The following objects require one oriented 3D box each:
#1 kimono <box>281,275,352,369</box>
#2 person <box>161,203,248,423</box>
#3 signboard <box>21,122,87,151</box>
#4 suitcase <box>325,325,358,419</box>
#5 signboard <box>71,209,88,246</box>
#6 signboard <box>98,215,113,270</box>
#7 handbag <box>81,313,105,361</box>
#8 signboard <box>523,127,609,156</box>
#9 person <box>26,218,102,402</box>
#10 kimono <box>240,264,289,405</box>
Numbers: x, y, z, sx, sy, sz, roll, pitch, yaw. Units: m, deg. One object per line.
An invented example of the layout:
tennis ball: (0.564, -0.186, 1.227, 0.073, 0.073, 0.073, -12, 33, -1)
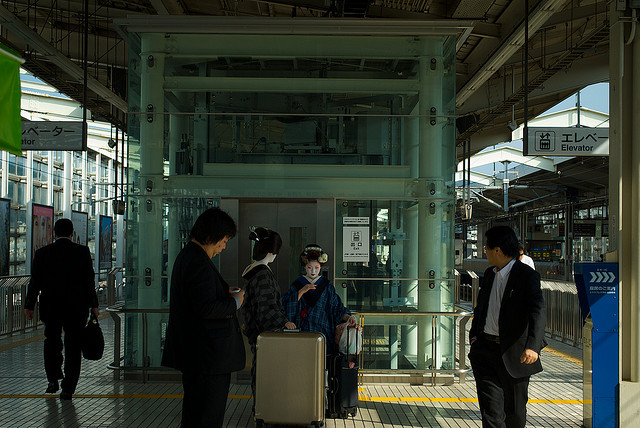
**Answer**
kimono: (-0.082, 1.725, 9.493, 0.923, 1.436, 0.736, 5, -1, 0)
person: (-1.400, 1.237, 7.356, 0.980, 2.595, 0.409, 1, -5, -15)
signboard: (-5.289, -1.545, 11.985, 1.150, 0.507, 0.146, 0, 1, -1)
suitcase: (0.337, 2.367, 9.136, 0.477, 1.349, 0.303, 0, -5, -2)
signboard: (-8.926, 0.692, 22.284, 0.073, 1.444, 2.042, 0, -2, -38)
signboard: (-8.852, 1.209, 24.822, 0.081, 2.190, 2.226, 2, -4, -32)
handbag: (-3.848, 2.085, 10.152, 0.342, 0.801, 0.555, 2, -5, -21)
signboard: (5.162, -1.528, 12.619, 1.801, 0.631, 0.338, 0, -5, -1)
person: (-4.269, 1.596, 9.987, 1.075, 3.012, 0.420, -1, -5, 12)
kimono: (-0.782, 1.786, 8.718, 0.773, 1.933, 1.143, -1, -14, -9)
